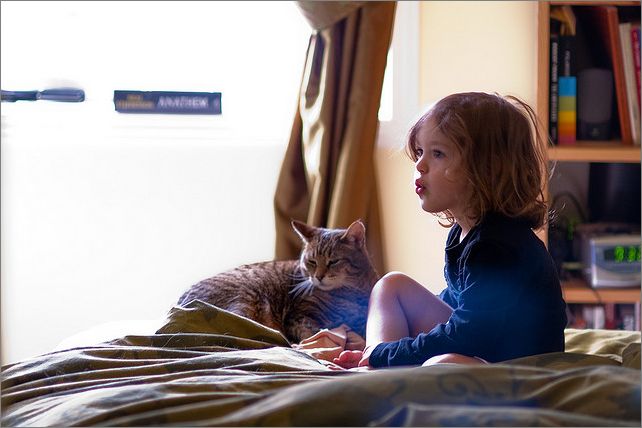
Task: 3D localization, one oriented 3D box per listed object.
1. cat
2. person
[{"bbox_3d":[-0.144,0.232,2.021,0.674,0.335,0.419,1,-5,-4],"label":"cat"},{"bbox_3d":[0.412,0.074,1.708,0.748,0.856,0.528,1,-1,-36],"label":"person"}]
